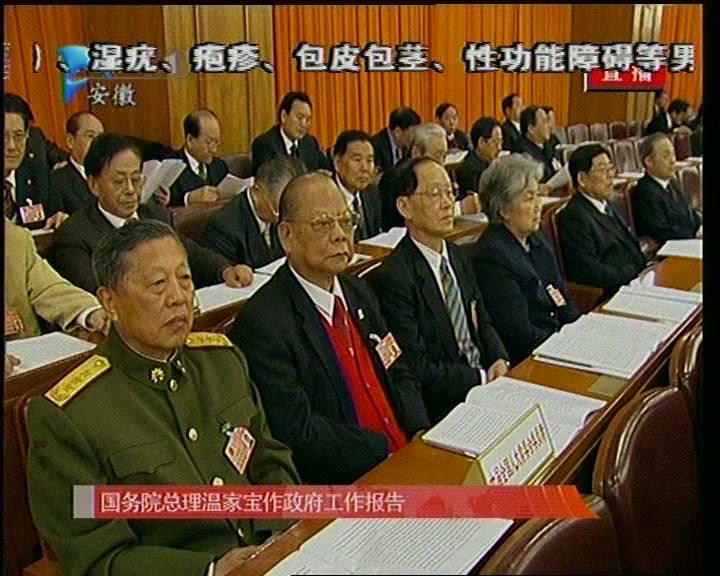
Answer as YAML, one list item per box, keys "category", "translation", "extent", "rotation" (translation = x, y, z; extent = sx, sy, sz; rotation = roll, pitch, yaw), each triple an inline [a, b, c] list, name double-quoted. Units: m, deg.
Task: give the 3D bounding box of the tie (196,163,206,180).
- category: "tie"
  translation: [-0.494, -0.364, 1.645]
  extent: [0.010, 0.037, 0.027]
  rotation: [13, 28, 39]

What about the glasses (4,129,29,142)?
- category: "glasses"
  translation: [-0.971, -0.429, 1.499]
  extent: [0.035, 0.037, 0.013]
  rotation: [4, 29, -17]

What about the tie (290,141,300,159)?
- category: "tie"
  translation: [-0.202, -0.435, 1.674]
  extent: [0.032, 0.048, 0.011]
  rotation: [-3, -3, -11]

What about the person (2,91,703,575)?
- category: "person"
  translation: [-0.084, 0.125, 1.549]
  extent: [0.458, 0.836, 1.318]
  rotation: [4, 10, 42]
